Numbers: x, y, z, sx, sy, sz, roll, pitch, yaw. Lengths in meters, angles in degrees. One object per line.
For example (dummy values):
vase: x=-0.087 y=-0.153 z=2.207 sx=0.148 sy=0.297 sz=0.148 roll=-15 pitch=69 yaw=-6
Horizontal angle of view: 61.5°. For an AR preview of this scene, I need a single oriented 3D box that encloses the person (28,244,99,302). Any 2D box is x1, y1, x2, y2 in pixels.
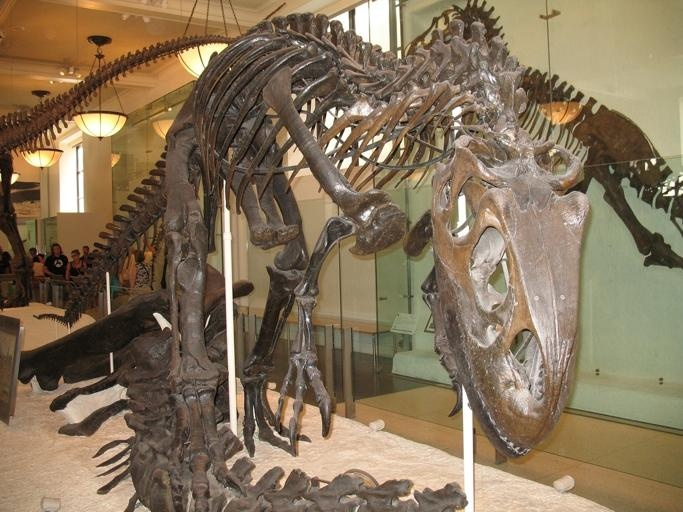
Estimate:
person: x=-4.091 y=0.257 z=8.389 sx=0.852 sy=0.914 sz=0.442 roll=1 pitch=0 yaw=43
